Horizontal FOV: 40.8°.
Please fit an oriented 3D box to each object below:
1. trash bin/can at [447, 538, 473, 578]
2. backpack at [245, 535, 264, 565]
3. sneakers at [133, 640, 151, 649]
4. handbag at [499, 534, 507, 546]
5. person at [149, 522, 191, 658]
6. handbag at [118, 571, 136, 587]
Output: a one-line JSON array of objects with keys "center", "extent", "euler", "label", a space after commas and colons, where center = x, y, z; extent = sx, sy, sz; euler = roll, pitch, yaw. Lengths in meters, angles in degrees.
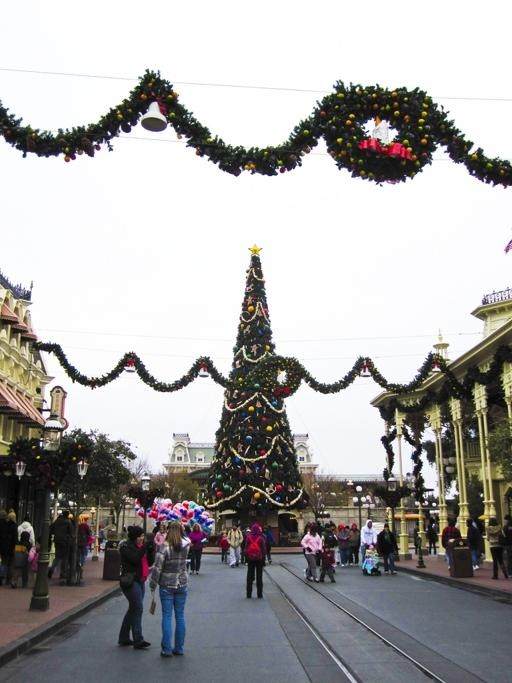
[{"center": [5.406, 5.814, 18.265], "extent": [0.549, 0.910, 0.975], "euler": [-4, -16, 13], "label": "trash bin/can"}, {"center": [-0.020, 4.475, 14.533], "extent": [0.385, 0.482, 0.510], "euler": [0, 32, 5], "label": "backpack"}, {"center": [-1.368, 3.642, 8.227], "extent": [0.192, 0.078, 0.096], "euler": [1, -1, -2], "label": "sneakers"}, {"center": [6.120, 4.935, 17.111], "extent": [0.137, 0.324, 0.380], "euler": [-6, -16, 17], "label": "handbag"}, {"center": [-1.005, 2.843, 7.959], "extent": [0.438, 1.448, 0.504], "euler": [1, -16, -6], "label": "person"}, {"center": [-1.539, 2.853, 8.202], "extent": [0.171, 0.125, 0.232], "euler": [9, 27, 2], "label": "handbag"}]
